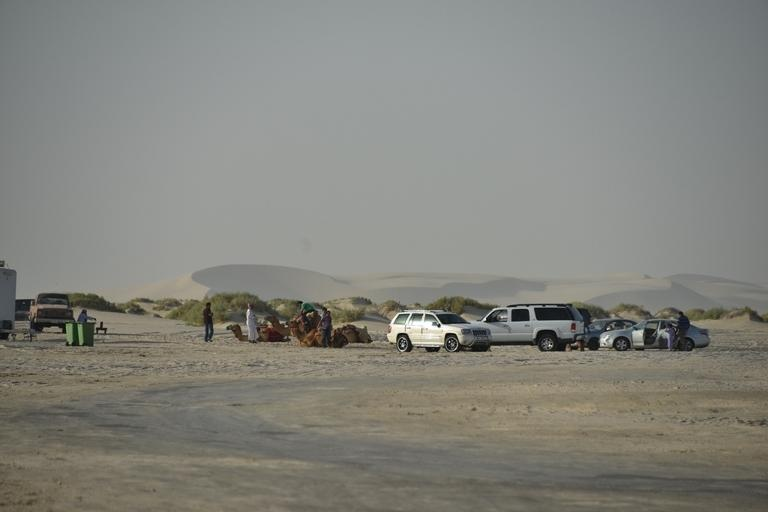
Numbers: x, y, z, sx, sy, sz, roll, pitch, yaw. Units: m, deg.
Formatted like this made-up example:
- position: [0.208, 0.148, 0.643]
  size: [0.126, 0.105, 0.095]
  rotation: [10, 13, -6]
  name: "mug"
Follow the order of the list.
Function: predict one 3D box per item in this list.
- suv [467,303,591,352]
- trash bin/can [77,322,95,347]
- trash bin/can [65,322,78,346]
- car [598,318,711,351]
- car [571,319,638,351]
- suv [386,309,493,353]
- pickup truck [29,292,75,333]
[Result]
- position: [6.660, 3.249, 31.600]
  size: [4.029, 1.644, 2.156]
  rotation: [3, -2, 11]
  name: "suv"
- position: [-13.622, 3.575, 31.943]
  size: [0.723, 1.053, 0.755]
  rotation: [6, -12, -38]
  name: "trash bin/can"
- position: [-14.326, 3.547, 31.994]
  size: [0.820, 1.053, 0.368]
  rotation: [-7, -11, 35]
  name: "trash bin/can"
- position: [12.588, 3.758, 32.736]
  size: [4.457, 1.340, 1.914]
  rotation: [1, -6, 13]
  name: "car"
- position: [10.965, 3.771, 34.728]
  size: [3.261, 1.409, 1.843]
  rotation: [3, -6, -15]
  name: "car"
- position: [2.570, 3.405, 31.538]
  size: [3.995, 1.637, 2.053]
  rotation: [-4, -5, 31]
  name: "suv"
- position: [-21.106, 3.519, 44.269]
  size: [2.306, 2.570, 2.644]
  rotation: [4, -10, -26]
  name: "pickup truck"
